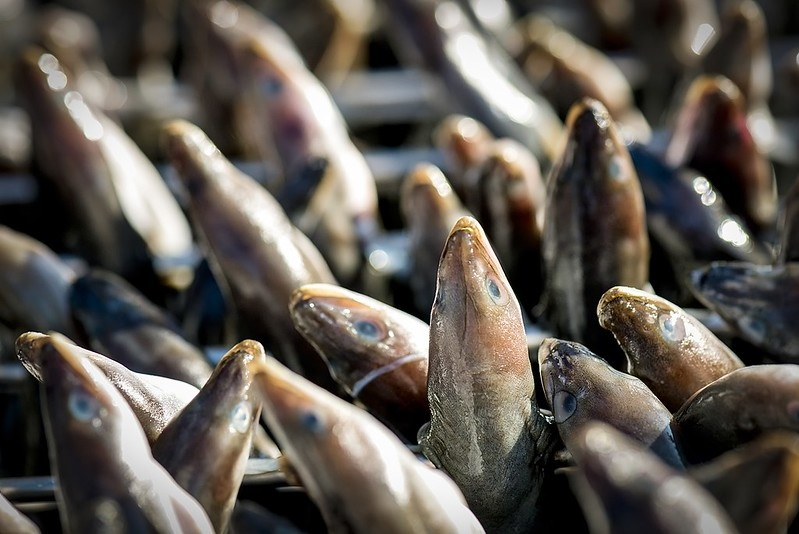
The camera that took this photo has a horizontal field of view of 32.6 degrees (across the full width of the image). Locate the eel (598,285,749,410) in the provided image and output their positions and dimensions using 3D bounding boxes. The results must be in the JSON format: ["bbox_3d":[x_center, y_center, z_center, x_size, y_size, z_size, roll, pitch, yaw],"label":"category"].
[{"bbox_3d":[0.326,0.088,1.621,0.102,0.199,0.063,-33,-6,-14],"label":"eel"}]

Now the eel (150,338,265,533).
[{"bbox_3d":[-0.209,0.189,1.625,0.081,0.281,0.108,15,-8,7],"label":"eel"}]
